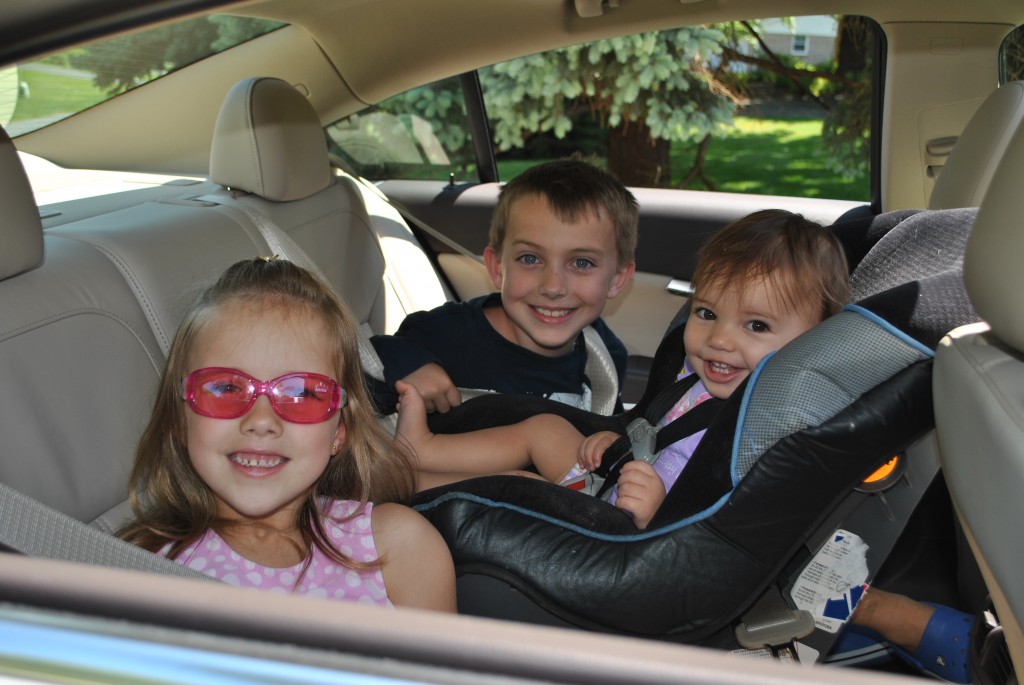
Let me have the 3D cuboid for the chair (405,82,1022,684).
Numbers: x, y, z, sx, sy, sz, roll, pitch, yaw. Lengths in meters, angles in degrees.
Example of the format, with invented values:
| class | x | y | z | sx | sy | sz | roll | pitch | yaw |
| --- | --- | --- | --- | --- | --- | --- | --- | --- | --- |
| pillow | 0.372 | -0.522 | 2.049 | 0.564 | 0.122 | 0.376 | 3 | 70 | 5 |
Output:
| class | x | y | z | sx | sy | sz | roll | pitch | yaw |
| --- | --- | --- | --- | --- | --- | --- | --- | --- | --- |
| chair | 0.329 | 0.098 | 1.436 | 0.959 | 0.728 | 0.739 | 2 | -6 | 2 |

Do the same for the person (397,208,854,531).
| class | x | y | z | sx | sy | sz | roll | pitch | yaw |
| --- | --- | --- | --- | --- | --- | --- | --- | --- | --- |
| person | 0.246 | -0.001 | 2.045 | 0.875 | 0.912 | 0.622 | 21 | 0 | -8 |

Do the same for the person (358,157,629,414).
| class | x | y | z | sx | sy | sz | roll | pitch | yaw |
| --- | --- | --- | --- | --- | --- | --- | --- | --- | --- |
| person | -0.051 | -0.134 | 2.188 | 0.642 | 0.844 | 0.467 | 12 | 5 | -8 |
